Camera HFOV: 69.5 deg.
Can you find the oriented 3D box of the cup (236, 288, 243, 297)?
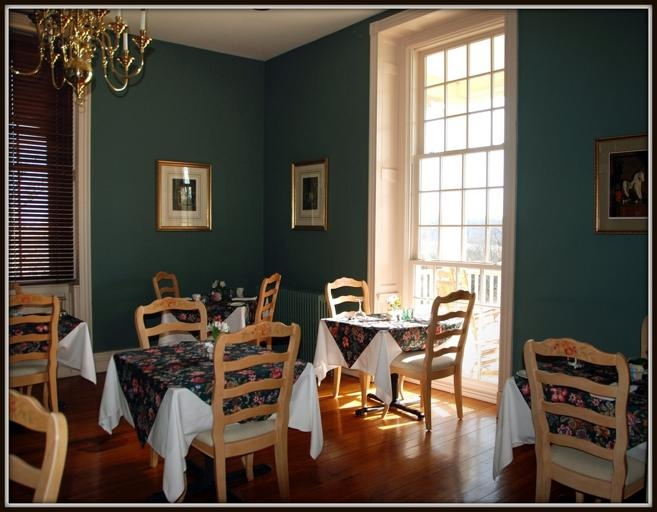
[{"bbox_3d":[-1.084,0.451,5.818,0.092,0.143,0.139,1,-5,2],"label":"cup"}]

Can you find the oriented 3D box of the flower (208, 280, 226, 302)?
[{"bbox_3d":[-1.308,0.414,5.616,0.234,0.395,0.246,2,-2,-18],"label":"flower"}]

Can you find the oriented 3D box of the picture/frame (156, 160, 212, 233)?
[{"bbox_3d":[-1.926,-0.783,6.194,0.875,1.152,0.077,-3,3,-40],"label":"picture/frame"}]

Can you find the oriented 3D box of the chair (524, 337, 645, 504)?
[{"bbox_3d":[1.389,0.915,2.566,0.581,0.949,0.335,3,5,39],"label":"chair"}]

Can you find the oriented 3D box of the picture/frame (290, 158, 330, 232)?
[{"bbox_3d":[-0.214,-0.802,6.157,0.087,1.269,0.903,2,-3,-42],"label":"picture/frame"}]

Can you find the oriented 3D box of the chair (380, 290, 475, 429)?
[{"bbox_3d":[1.048,0.896,4.537,0.686,1.211,1.162,2,4,24],"label":"chair"}]

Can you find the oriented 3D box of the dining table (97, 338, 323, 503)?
[{"bbox_3d":[-0.629,0.991,3.031,0.960,0.518,0.963,-7,12,-40],"label":"dining table"}]

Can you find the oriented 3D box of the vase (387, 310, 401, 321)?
[{"bbox_3d":[0.664,0.574,4.619,0.099,0.076,0.095,2,-3,-44],"label":"vase"}]

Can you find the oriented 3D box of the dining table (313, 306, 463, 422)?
[{"bbox_3d":[0.612,0.813,4.462,1.032,0.931,1.130,-4,5,-41],"label":"dining table"}]
